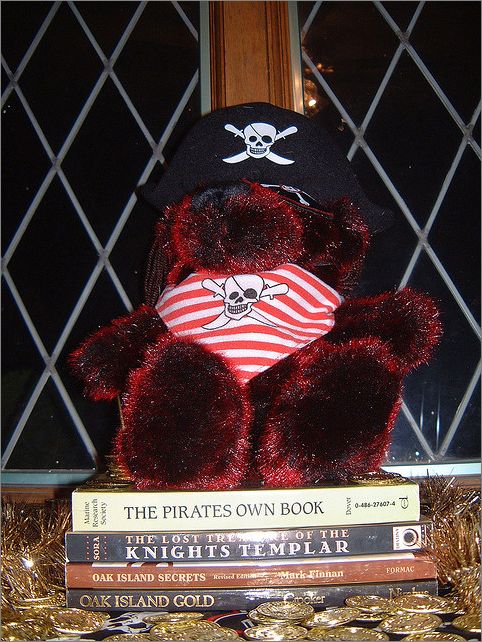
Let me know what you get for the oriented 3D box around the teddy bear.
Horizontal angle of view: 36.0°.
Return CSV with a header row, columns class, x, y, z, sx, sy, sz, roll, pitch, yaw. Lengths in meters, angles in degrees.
class,x,y,z,sx,sy,sz,roll,pitch,yaw
teddy bear,0.031,-0.038,1.024,0.492,0.341,0.462,1,92,12
